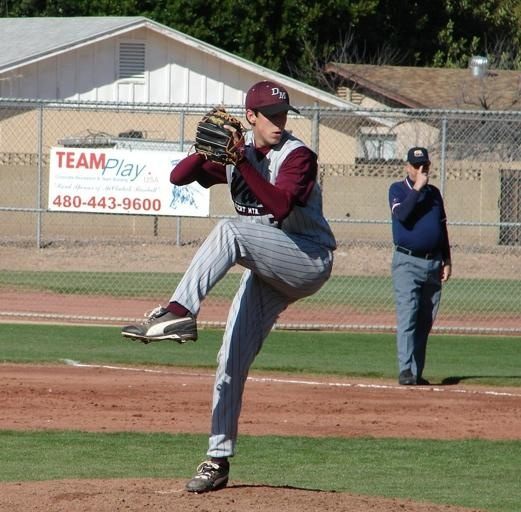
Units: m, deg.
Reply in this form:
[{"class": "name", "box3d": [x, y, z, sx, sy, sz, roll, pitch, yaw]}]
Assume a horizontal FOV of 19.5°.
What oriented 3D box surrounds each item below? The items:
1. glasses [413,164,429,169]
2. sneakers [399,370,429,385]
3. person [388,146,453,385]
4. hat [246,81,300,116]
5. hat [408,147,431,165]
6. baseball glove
[{"class": "glasses", "box3d": [2.131, -1.174, 19.957, 0.207, 0.091, 0.112, 3, 13, 6]}, {"class": "sneakers", "box3d": [2.091, 1.636, 20.207, 0.468, 0.221, 0.162, -2, 4, -20]}, {"class": "person", "box3d": [2.130, 0.184, 20.092, 0.742, 3.113, 0.633, -2, 13, -14]}, {"class": "hat", "box3d": [0.150, -1.786, 17.138, 0.494, 0.406, 0.759, 1, 4, -37]}, {"class": "hat", "box3d": [2.101, -1.321, 20.060, 0.188, 0.172, 0.277, 0, 3, -5]}, {"class": "baseball glove", "box3d": [-0.451, -1.305, 16.791, 0.594, 0.473, 0.300, 21, 13, 38]}]
